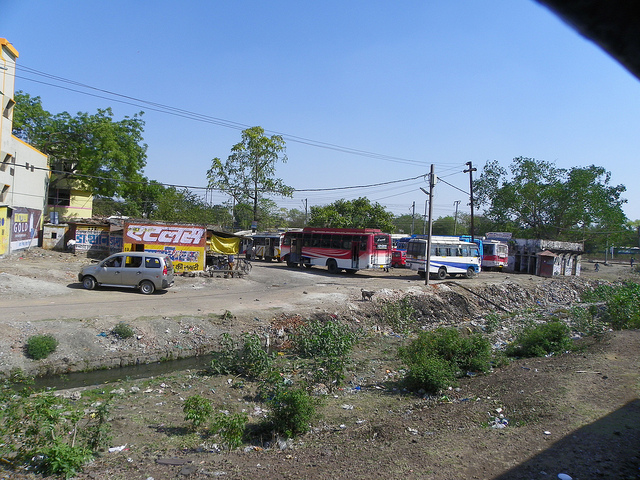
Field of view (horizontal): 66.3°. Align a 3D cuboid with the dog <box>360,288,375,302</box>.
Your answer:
[{"bbox_3d":[2.261,2.671,23.640,0.520,0.469,0.797,1,10,3],"label":"dog"}]

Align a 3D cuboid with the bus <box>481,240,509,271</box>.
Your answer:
[{"bbox_3d":[15.982,1.335,45.770,1.510,1.706,3.762,2,5,-23],"label":"bus"}]

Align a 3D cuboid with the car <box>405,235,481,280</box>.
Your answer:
[{"bbox_3d":[8.899,1.282,35.608,6.342,3.111,2.335,2,1,-35],"label":"car"}]

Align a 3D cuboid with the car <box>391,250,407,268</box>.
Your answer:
[{"bbox_3d":[6.861,1.619,42.718,1.066,1.079,1.766,0,8,-5],"label":"car"}]

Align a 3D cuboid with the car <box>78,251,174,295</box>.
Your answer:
[{"bbox_3d":[-8.961,1.557,23.169,3.671,1.608,2.000,6,0,0],"label":"car"}]
